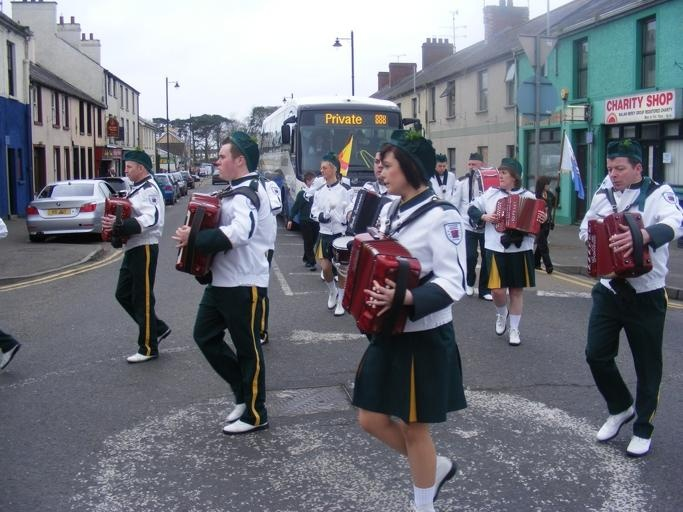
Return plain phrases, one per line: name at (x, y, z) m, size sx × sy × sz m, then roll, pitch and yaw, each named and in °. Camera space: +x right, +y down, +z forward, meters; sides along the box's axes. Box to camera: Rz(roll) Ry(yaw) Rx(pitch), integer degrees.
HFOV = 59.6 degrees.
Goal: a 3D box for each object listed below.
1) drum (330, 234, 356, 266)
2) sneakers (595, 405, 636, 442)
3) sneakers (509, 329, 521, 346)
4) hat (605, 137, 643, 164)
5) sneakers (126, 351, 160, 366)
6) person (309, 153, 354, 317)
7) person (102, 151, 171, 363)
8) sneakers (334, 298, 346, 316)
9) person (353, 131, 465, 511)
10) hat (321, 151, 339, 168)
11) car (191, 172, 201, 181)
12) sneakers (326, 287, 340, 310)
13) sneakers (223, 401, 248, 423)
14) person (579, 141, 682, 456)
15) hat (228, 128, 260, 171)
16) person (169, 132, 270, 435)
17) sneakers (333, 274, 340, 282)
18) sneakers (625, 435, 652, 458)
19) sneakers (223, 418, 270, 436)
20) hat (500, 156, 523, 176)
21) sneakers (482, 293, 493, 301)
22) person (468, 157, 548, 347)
drum at (-0.002, -0.039, 6.114) m, size 0.259 × 0.209 × 0.288 m, roll -3°, pitch 26°, yaw 4°
sneakers at (2.260, 1.386, 4.908) m, size 0.306 × 0.139 × 0.104 m, roll -42°, pitch 17°, yaw -1°
sneakers at (2.182, 0.998, 7.492) m, size 0.137 × 0.198 × 0.303 m, roll 1°, pitch 13°, yaw 18°
hat at (2.315, -0.868, 4.911) m, size 0.189 × 0.167 × 0.255 m, roll -9°, pitch 13°, yaw -39°
sneakers at (-2.278, 1.169, 6.801) m, size 0.338 × 0.108 × 0.126 m, roll 4°, pitch -9°, yaw -29°
person at (-0.176, -0.476, 9.696) m, size 0.878 × 2.236 × 0.722 m, roll -1°, pitch 6°, yaw 17°
person at (-2.333, 0.012, 6.824) m, size 0.662 × 2.389 × 0.712 m, roll -6°, pitch 12°, yaw -17°
sneakers at (-0.040, 0.746, 9.008) m, size 0.164 × 0.276 × 0.524 m, roll -3°, pitch 12°, yaw -1°
person at (0.398, 0.495, 3.520) m, size 0.708 × 2.416 × 0.586 m, roll -5°, pitch 12°, yaw -11°
hat at (-0.183, -1.546, 9.675) m, size 0.200 × 0.273 × 0.283 m, roll -3°, pitch -4°, yaw 4°
car at (-18.145, -9.900, 74.425) m, size 1.200 × 0.966 × 2.615 m, roll -1°, pitch 2°, yaw -19°
sneakers at (-0.170, 0.676, 9.442) m, size 0.135 × 0.414 × 0.255 m, roll -2°, pitch -15°, yaw 39°
sneakers at (-0.908, 1.347, 5.212) m, size 0.099 × 0.125 × 0.303 m, roll 0°, pitch 6°, yaw 18°
person at (2.311, 0.312, 4.783) m, size 0.701 × 2.422 × 0.936 m, roll 2°, pitch 12°, yaw 22°
hat at (-0.775, -0.918, 5.150) m, size 0.303 × 0.353 × 0.261 m, roll -4°, pitch 14°, yaw 22°
person at (-0.902, 0.207, 5.097) m, size 0.662 × 2.478 × 0.809 m, roll 5°, pitch 13°, yaw 33°
sneakers at (-0.081, 0.359, 9.765) m, size 0.109 × 0.164 × 0.148 m, roll -2°, pitch -2°, yaw -1°
sneakers at (2.282, 1.460, 4.589) m, size 0.150 × 0.125 × 0.128 m, roll 4°, pitch 14°, yaw 30°
sneakers at (-0.822, 1.431, 5.038) m, size 0.344 × 0.113 × 0.131 m, roll 3°, pitch -1°, yaw -13°
hat at (2.226, -1.204, 7.988) m, size 0.220 × 0.229 × 0.282 m, roll 18°, pitch 2°, yaw -35°
sneakers at (2.469, 0.696, 10.086) m, size 0.123 × 0.141 × 0.345 m, roll -3°, pitch 0°, yaw 0°
person at (2.208, -0.077, 7.802) m, size 0.857 × 2.308 × 1.256 m, roll -3°, pitch 12°, yaw -4°
